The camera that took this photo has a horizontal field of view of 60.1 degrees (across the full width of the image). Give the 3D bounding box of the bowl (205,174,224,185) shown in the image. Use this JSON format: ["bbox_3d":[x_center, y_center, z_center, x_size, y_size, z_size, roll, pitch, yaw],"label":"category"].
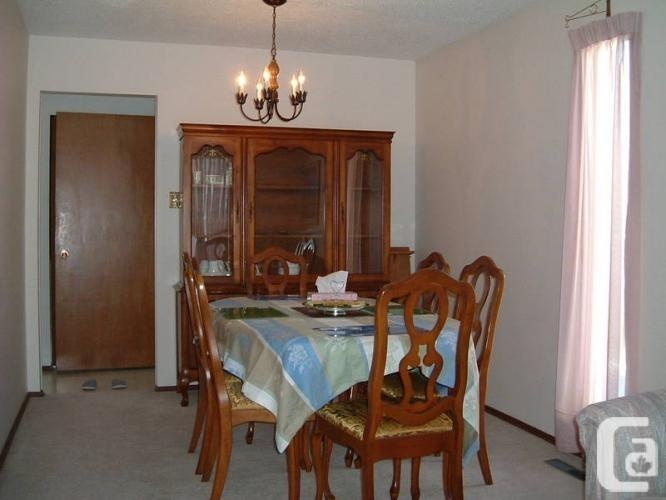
[{"bbox_3d":[-0.988,-0.594,4.874,0.117,0.065,0.080,-1,2,-30],"label":"bowl"}]

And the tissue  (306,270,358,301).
[{"bbox_3d":[-0.002,0.258,3.851,0.323,0.223,0.180,1,-1,-12],"label":"tissue "}]

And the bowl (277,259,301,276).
[{"bbox_3d":[-0.351,0.150,4.969,0.143,0.099,0.144,1,2,0],"label":"bowl"}]

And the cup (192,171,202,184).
[{"bbox_3d":[-1.128,-0.606,4.826,0.082,0.118,0.086,3,9,0],"label":"cup"}]
